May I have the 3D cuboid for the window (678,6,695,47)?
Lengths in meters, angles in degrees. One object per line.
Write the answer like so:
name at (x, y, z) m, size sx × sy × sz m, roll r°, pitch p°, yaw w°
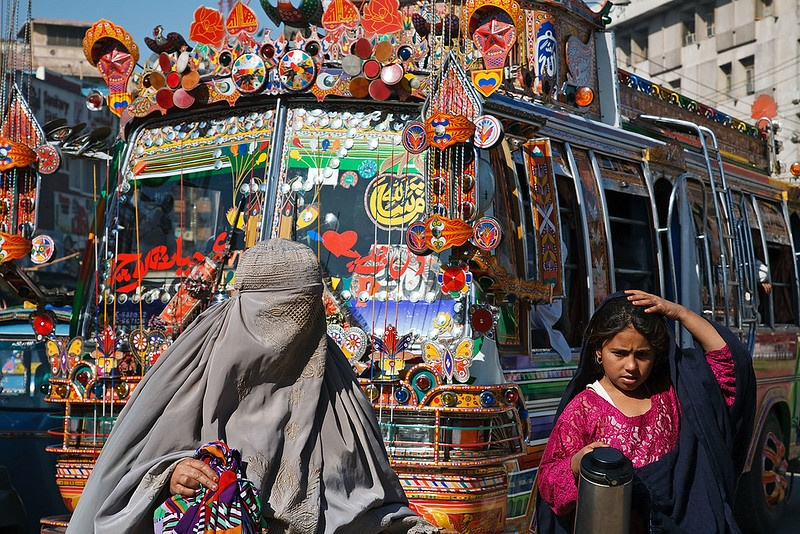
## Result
window at (10.900, -9.127, 42.451) m, size 0.122 × 1.407 × 0.694 m, roll 4°, pitch 0°, yaw -33°

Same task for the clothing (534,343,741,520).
clothing at (1.602, 1.114, 8.699) m, size 1.865 × 1.374 × 1.046 m, roll -10°, pitch -3°, yaw -20°
